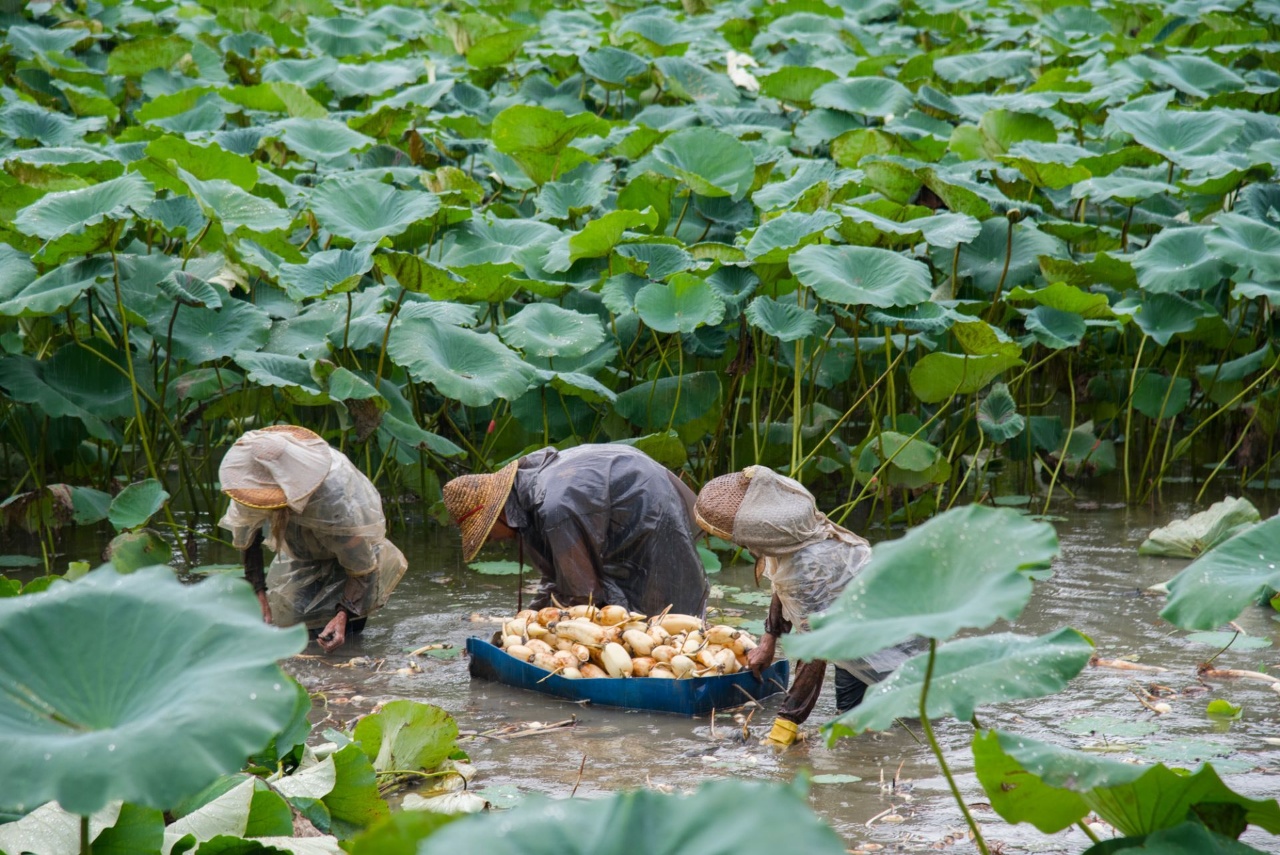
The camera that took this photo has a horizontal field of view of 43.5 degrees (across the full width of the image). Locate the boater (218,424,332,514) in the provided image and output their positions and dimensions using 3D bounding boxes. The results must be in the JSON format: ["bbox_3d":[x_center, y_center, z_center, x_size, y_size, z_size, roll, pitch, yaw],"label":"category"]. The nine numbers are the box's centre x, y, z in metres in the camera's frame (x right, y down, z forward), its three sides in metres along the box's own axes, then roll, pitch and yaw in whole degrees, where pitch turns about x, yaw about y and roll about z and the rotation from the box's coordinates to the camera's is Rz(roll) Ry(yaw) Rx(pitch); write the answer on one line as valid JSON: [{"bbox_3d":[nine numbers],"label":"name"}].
[{"bbox_3d":[-2.261,0.271,9.957,0.685,0.491,0.375,0,14,-12],"label":"boater"}]

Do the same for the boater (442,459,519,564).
[{"bbox_3d":[-0.986,0.519,9.884,0.455,0.578,0.301,1,14,-8],"label":"boater"}]

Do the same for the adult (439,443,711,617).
[{"bbox_3d":[-0.375,0.790,10.225,1.666,1.329,0.941,-3,14,-1],"label":"adult"}]

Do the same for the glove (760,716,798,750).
[{"bbox_3d":[0.789,1.724,9.026,0.163,0.233,0.194,22,-8,9],"label":"glove"}]

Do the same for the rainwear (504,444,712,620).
[{"bbox_3d":[-0.318,0.608,10.158,1.386,1.205,0.851,-4,20,-8],"label":"rainwear"}]

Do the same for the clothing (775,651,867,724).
[{"bbox_3d":[1.020,1.480,9.017,0.527,0.449,0.231,-7,17,-37],"label":"clothing"}]
